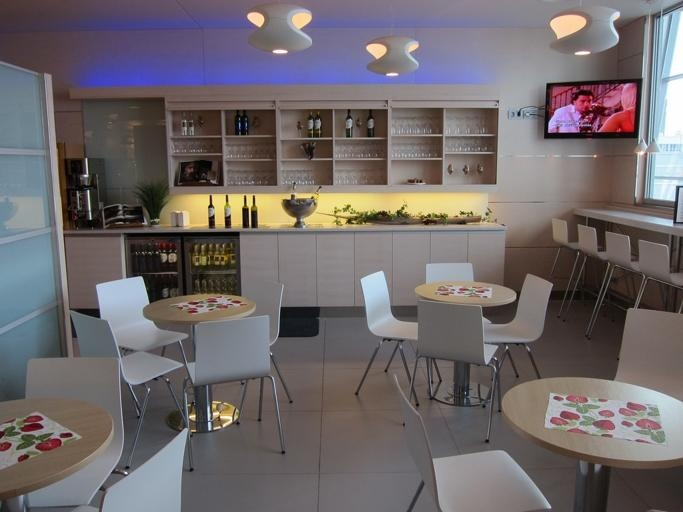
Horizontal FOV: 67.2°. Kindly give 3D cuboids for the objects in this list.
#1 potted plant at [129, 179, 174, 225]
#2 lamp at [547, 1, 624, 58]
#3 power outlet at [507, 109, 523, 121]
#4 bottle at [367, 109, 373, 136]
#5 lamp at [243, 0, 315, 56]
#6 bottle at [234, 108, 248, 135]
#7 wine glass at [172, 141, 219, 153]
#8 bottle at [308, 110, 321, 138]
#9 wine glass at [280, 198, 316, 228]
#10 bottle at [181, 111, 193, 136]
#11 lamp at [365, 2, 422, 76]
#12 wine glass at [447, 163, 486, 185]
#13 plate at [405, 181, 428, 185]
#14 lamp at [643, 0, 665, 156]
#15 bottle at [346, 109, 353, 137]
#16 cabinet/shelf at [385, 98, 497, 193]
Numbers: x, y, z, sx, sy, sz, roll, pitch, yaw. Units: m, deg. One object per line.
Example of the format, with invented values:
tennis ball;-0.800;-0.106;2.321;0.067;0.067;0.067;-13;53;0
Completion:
potted plant;-2.527;-0.703;6.936;0.605;0.663;0.606;0;5;3
lamp;1.862;-1.709;4.019;0.434;0.238;0.439;1;-5;2
power outlet;2.421;-1.991;7.194;0.214;0.137;0.024;-2;12;2
bottle;0.390;-1.776;6.860;0.105;0.356;0.249;-1;11;3
lamp;-0.487;-1.853;4.095;0.414;0.232;0.419;0;-2;-6
bottle;-1.329;-1.777;6.813;0.198;0.333;0.282;-4;12;-9
wine glass;-1.929;-1.462;6.841;0.631;0.188;0.197;-6;12;-18
bottle;-0.364;-1.752;6.837;0.197;0.342;0.241;-3;11;-3
wine glass;-0.562;-0.586;6.878;0.378;0.381;0.423;1;6;5
bottle;-2.031;-1.751;6.783;0.166;0.313;0.227;-5;12;-14
lamp;0.478;-1.990;4.822;0.503;0.380;0.510;1;3;10
wine glass;1.698;-1.118;7.081;0.572;0.300;0.133;-2;7;2
plate;1.003;-0.994;6.953;0.289;0.045;0.359;0;11;9
lamp;4.041;-2.216;6.668;0.095;1.764;0.233;-5;12;-12
bottle;0.099;-1.777;6.844;0.107;0.364;0.198;-1;12;5
cabinet/shelf;1.341;-1.533;6.892;1.159;0.798;0.371;0;4;-2
